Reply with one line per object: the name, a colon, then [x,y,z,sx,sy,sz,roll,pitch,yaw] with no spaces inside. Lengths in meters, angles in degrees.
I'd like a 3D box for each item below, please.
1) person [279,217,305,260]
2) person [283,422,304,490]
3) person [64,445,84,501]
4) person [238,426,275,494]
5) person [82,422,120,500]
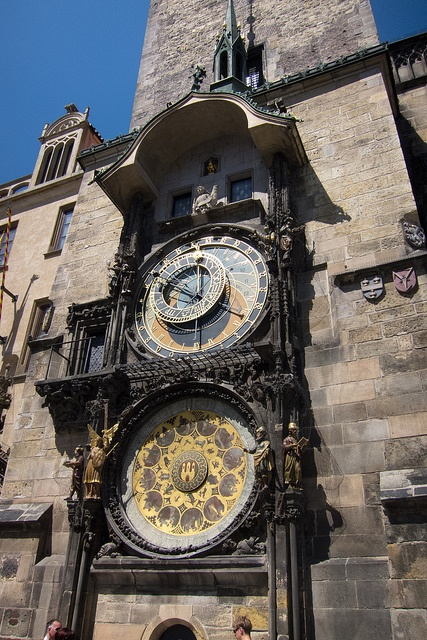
person: [1.786,-1.928,13.371,0.463,1.332,0.524,10,-31,-16]
person: [1.455,2.399,10.299,0.413,1.237,0.255,4,-30,-7]
person: [-3.015,3.227,12.232,0.422,1.216,0.472,8,-31,-12]
person: [0.862,2.527,10.389,0.366,1.175,0.492,19,-35,-29]
person: [-2.417,2.950,12.062,0.619,1.648,0.366,8,-31,-13]
